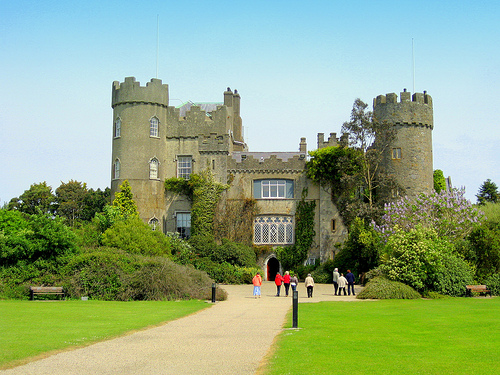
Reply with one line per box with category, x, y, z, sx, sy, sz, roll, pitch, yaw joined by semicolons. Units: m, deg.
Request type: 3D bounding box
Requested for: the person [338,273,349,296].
person;5.885;6.104;49.066;0.612;1.438;2.646;-1;-8;7
